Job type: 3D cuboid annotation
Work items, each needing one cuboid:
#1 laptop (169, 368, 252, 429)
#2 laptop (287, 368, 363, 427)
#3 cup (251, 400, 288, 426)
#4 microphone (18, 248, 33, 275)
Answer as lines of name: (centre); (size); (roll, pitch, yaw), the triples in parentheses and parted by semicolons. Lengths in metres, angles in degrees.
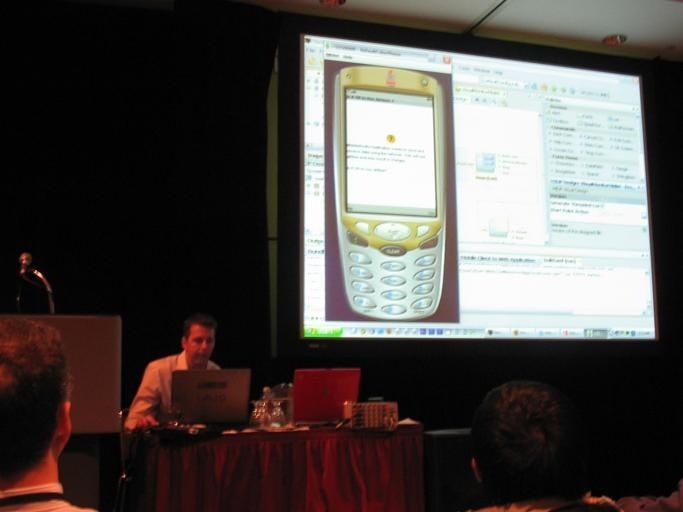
laptop: (-0.609, 0.603, 3.131); (0.346, 0.255, 0.256); (2, -6, -10)
laptop: (-0.080, 0.655, 3.196); (0.325, 0.329, 0.254); (2, 2, -10)
cup: (-0.337, 0.739, 3.131); (0.137, 0.098, 0.111); (-10, -17, 34)
microphone: (-1.556, 0.033, 3.287); (0.077, 0.131, 0.046); (3, -6, -2)
